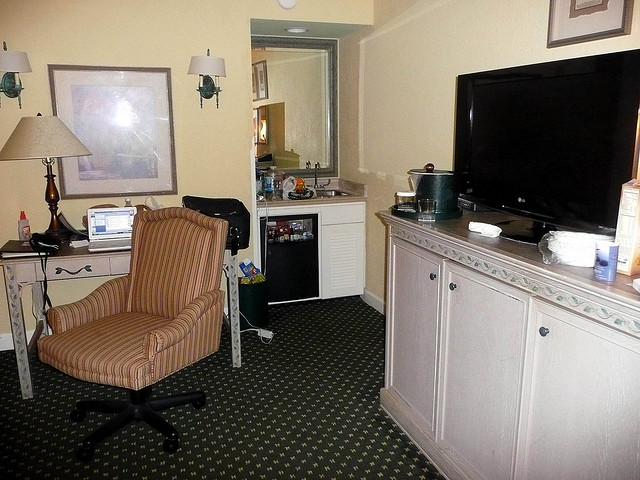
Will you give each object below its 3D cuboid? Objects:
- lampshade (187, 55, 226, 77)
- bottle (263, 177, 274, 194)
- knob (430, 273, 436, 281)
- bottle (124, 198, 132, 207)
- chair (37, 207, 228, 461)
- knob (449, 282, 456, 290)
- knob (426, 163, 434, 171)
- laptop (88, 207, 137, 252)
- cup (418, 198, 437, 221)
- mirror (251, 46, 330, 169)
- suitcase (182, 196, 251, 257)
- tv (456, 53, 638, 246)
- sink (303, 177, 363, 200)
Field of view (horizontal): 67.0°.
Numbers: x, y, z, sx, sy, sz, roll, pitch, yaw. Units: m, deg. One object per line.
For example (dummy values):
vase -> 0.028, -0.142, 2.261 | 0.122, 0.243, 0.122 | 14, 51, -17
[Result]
lampshade -> -0.970, -1.459, 4.079 | 0.304, 0.155, 0.134 | -5, 14, -17
bottle -> -0.521, -0.519, 4.705 | 0.126, 0.146, 0.127 | -2, 16, -15
knob -> 0.614, 0.207, 2.651 | 0.013, 0.038, 0.041 | -9, 16, -30
bottle -> -1.583, -0.301, 3.951 | 0.077, 0.075, 0.061 | -3, 26, -19
chair -> -1.135, 0.542, 3.034 | 1.042, 1.376, 1.032 | -7, 13, -43
knob -> 0.687, 0.246, 2.516 | 0.013, 0.035, 0.036 | -10, 17, -35
knob -> 0.648, -0.426, 2.861 | 0.040, 0.029, 0.036 | 1, 4, -10
laptop -> -1.548, -0.089, 3.550 | 0.373, 0.283, 0.320 | -3, 15, -24
cup -> 0.612, -0.169, 2.747 | 0.094, 0.109, 0.120 | 9, 18, 32
mirror -> -0.306, -1.363, 5.084 | 0.802, 1.226, 0.126 | -3, 13, -11
suitcase -> -0.784, -0.176, 3.787 | 0.513, 0.458, 0.491 | -5, 11, -38
tv -> 1.096, -0.418, 2.304 | 0.289, 0.861, 0.974 | -3, 9, -20
sink -> 0.124, -0.543, 5.114 | 0.365, 0.238, 0.383 | -4, 17, -20
